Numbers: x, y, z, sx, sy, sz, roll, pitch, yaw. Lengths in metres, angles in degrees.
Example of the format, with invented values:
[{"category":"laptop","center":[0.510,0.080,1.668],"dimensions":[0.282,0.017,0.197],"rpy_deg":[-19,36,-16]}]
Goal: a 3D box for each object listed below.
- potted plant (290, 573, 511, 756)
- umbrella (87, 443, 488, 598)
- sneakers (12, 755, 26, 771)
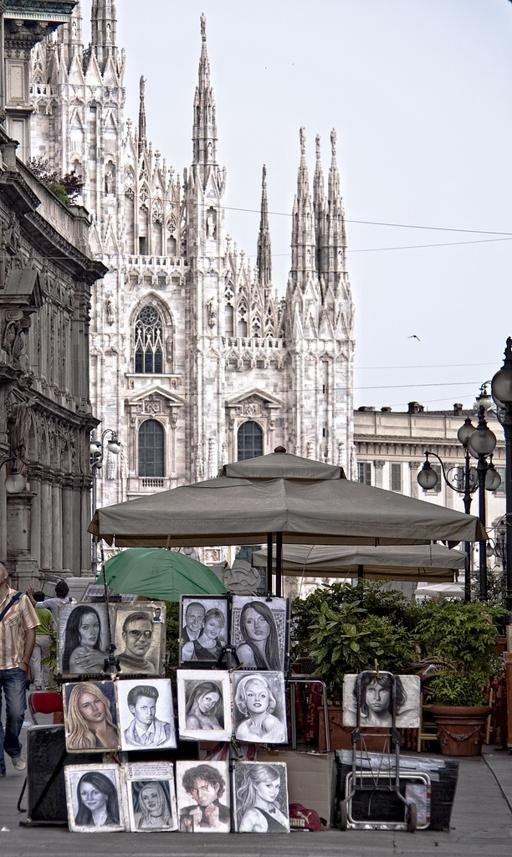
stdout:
[{"category":"potted plant","center":[1.115,1.711,15.279],"dimensions":[1.216,1.158,1.458],"rpy_deg":[1,-3,14]},{"category":"umbrella","center":[0.199,0.511,14.355],"dimensions":[2.790,0.572,1.373],"rpy_deg":[1,-2,-7]},{"category":"sneakers","center":[-1.670,2.333,13.513],"dimensions":[0.058,0.073,0.180],"rpy_deg":[-9,46,-17]}]
